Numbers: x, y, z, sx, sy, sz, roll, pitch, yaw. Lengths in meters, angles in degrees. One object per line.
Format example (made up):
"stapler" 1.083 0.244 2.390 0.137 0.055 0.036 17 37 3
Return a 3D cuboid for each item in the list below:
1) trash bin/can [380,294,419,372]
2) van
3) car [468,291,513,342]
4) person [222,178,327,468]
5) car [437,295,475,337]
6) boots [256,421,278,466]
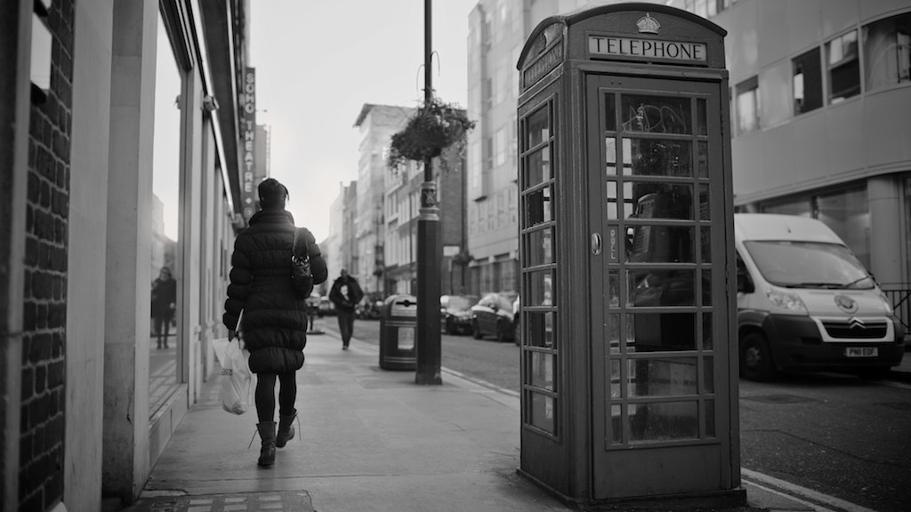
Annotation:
"trash bin/can" -1.158 1.562 15.958 0.688 1.406 0.605 0 3 -6
"van" 6.214 0.729 13.950 2.463 2.892 1.840 2 3 20
"car" 1.369 2.119 25.449 1.070 1.553 3.808 0 3 -9
"person" -2.038 0.678 8.874 0.864 3.144 0.912 3 4 40
"car" 0.041 2.257 29.855 0.901 0.885 2.069 1 -9 -16
"boots" -2.053 2.046 8.630 0.190 0.438 0.347 0 3 -17
